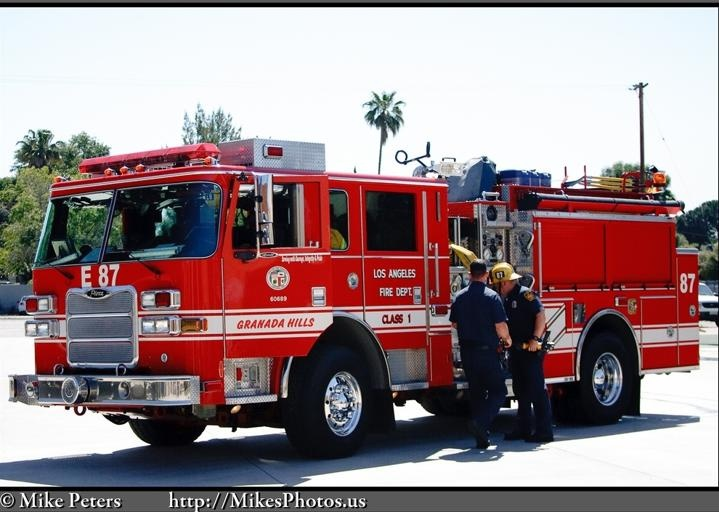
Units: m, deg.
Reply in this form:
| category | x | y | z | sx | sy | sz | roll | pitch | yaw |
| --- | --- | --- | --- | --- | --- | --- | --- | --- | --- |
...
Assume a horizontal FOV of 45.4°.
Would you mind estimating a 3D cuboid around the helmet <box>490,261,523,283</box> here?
| category | x | y | z | sx | sy | sz | roll | pitch | yaw |
| --- | --- | --- | --- | --- | --- | --- | --- | --- | --- |
| helmet | 2.129 | 0.260 | 12.393 | 0.357 | 0.225 | 0.254 | -13 | 3 | 21 |

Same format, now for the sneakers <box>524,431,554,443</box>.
| category | x | y | z | sx | sy | sz | roll | pitch | yaw |
| --- | --- | --- | --- | --- | --- | --- | --- | --- | --- |
| sneakers | 2.557 | 2.539 | 12.084 | 0.407 | 0.179 | 0.157 | -3 | -4 | 10 |
